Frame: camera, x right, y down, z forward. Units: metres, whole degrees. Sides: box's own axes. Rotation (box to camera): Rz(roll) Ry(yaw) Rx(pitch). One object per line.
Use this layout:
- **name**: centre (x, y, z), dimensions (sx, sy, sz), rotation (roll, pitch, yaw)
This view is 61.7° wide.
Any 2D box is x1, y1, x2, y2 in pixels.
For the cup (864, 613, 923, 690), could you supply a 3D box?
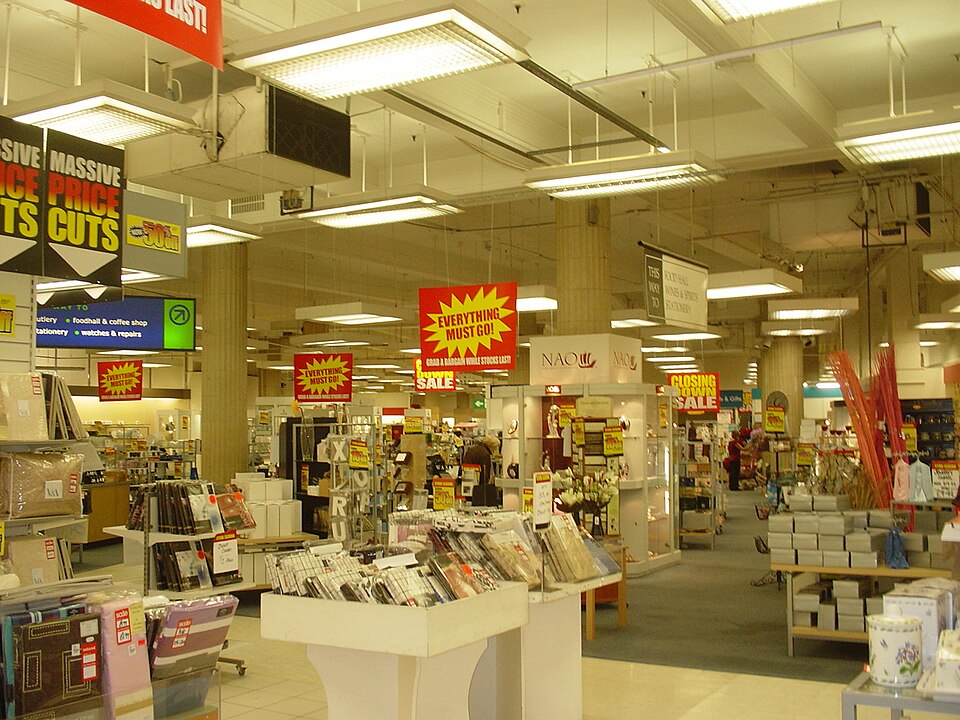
- **cup**: centre (2.110, 1.461, 4.075), dimensions (0.291, 0.358, 0.288), rotation (0, -6, 0)

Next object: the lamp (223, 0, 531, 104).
- **lamp**: centre (-0.653, -2.011, 5.303), dimensions (1.822, 0.220, 0.724), rotation (-6, -6, 26)

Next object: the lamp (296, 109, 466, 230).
- **lamp**: centre (-1.011, -1.605, 8.803), dimensions (1.872, 1.405, 1.031), rotation (-5, -9, 32)
